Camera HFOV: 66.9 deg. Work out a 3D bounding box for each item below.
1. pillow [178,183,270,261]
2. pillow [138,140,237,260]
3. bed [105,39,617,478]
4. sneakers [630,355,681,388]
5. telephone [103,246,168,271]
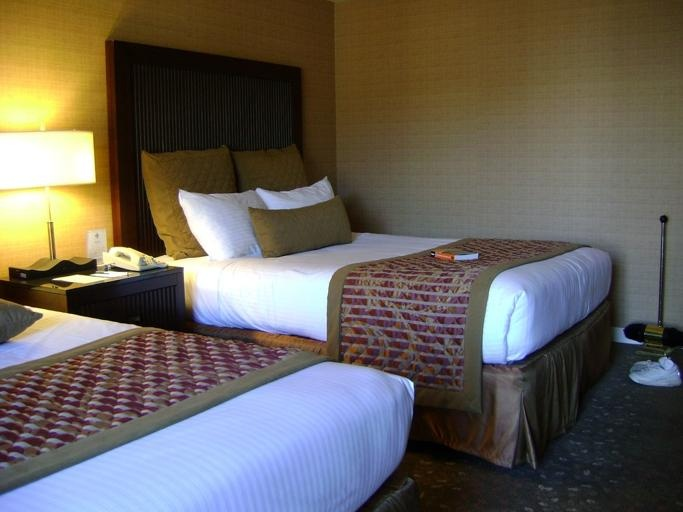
[{"bbox_3d":[-0.816,-0.224,3.489,0.552,0.491,0.157,-7,-17,-42],"label":"pillow"},{"bbox_3d":[-1.106,-0.364,3.583,0.372,0.652,0.781,12,20,28],"label":"pillow"},{"bbox_3d":[0.122,-0.397,4.135,3.471,2.414,2.509,4,12,29],"label":"bed"},{"bbox_3d":[2.183,0.783,3.567,0.315,0.134,0.302,8,15,34],"label":"sneakers"},{"bbox_3d":[-1.308,0.011,3.177,0.268,0.073,0.191,8,12,27],"label":"telephone"}]
